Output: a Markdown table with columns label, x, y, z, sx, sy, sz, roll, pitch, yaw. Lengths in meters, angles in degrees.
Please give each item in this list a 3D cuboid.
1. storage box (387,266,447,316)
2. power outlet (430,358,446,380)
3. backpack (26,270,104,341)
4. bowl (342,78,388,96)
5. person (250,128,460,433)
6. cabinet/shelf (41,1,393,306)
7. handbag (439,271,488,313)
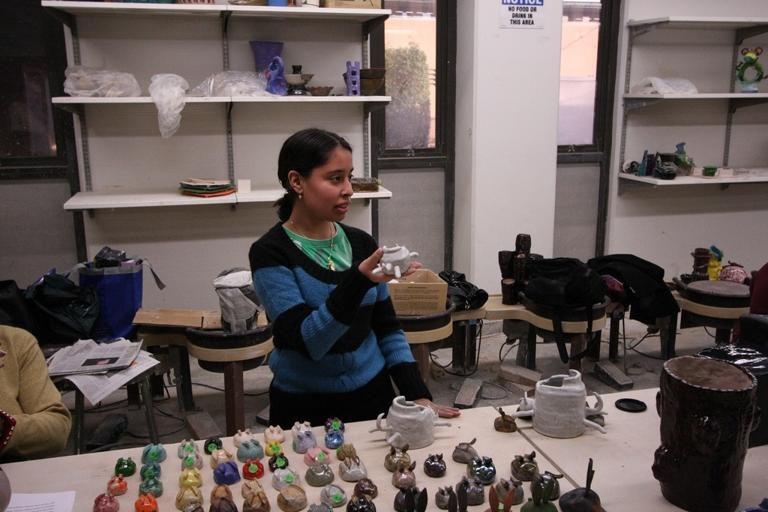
| label | x | y | z | sx | sy | sz | roll | pitch | yaw |
| --- | --- | --- | --- | --- | --- | --- | --- | --- | --- |
| storage box | 0.232 | 0.233 | 3.851 | 0.341 | 0.194 | 0.331 | -1 | 13 | 1 |
| power outlet | 0.410 | 0.873 | 4.487 | 0.062 | 0.076 | 0.182 | -3 | 1 | -13 |
| backpack | -1.980 | 0.288 | 3.599 | 0.365 | 0.218 | 0.445 | 7 | 33 | -50 |
| bowl | -0.139 | -1.331 | 4.608 | 0.303 | 0.158 | 0.611 | -2 | 12 | 0 |
| person | -0.185 | 0.110 | 2.330 | 0.665 | 1.219 | 0.558 | -5 | 13 | -13 |
| cabinet/shelf | -1.263 | -0.757 | 3.910 | 2.329 | 2.016 | 0.603 | -3 | 8 | -17 |
| handbag | 0.557 | 0.206 | 4.188 | 0.267 | 0.114 | 0.288 | 6 | 29 | -15 |
